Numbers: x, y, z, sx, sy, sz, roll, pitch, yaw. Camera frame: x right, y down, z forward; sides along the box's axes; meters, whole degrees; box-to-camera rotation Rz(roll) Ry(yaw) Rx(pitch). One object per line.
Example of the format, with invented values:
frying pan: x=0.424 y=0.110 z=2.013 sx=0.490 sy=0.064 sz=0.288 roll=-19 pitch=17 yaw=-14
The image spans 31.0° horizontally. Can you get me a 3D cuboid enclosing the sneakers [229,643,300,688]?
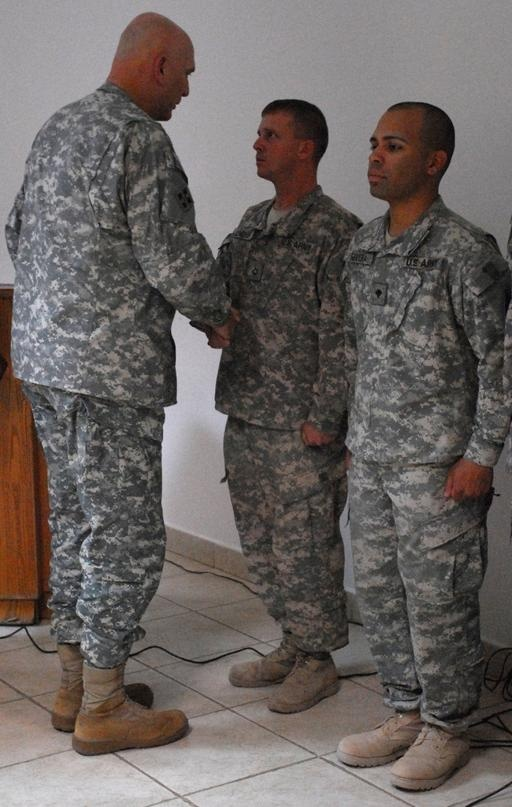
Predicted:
sneakers: x=0.009 y=0.817 z=2.881 sx=0.293 sy=0.140 sz=0.092 roll=3 pitch=2 yaw=-4

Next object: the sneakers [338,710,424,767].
sneakers: x=0.334 y=0.870 z=2.430 sx=0.327 sy=0.119 sz=0.107 roll=11 pitch=1 yaw=-41

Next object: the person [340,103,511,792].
person: x=0.400 y=0.095 z=2.307 sx=0.395 sy=1.632 sz=0.566 roll=0 pitch=-11 yaw=3

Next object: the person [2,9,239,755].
person: x=-0.363 y=-0.049 z=2.394 sx=0.608 sy=1.898 sz=0.666 roll=3 pitch=-11 yaw=-13

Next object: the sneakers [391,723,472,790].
sneakers: x=0.440 y=0.869 z=2.317 sx=0.116 sy=0.117 sz=0.305 roll=8 pitch=7 yaw=39

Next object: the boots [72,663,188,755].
boots: x=-0.331 y=0.813 z=2.467 sx=0.345 sy=0.209 sz=0.125 roll=9 pitch=-11 yaw=-35

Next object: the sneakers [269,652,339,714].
sneakers: x=0.135 y=0.819 z=2.744 sx=0.106 sy=0.136 sz=0.295 roll=-2 pitch=1 yaw=41
